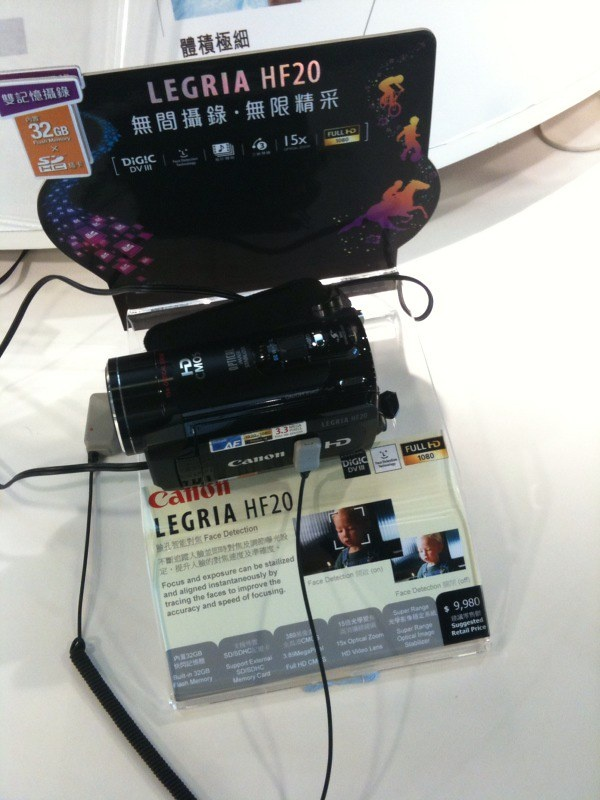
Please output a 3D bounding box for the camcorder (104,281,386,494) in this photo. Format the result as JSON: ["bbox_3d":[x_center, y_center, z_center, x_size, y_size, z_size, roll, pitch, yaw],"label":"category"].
[{"bbox_3d":[-0.054,-0.010,0.779,0.286,0.136,0.207,-9,73,-6],"label":"camcorder"}]
